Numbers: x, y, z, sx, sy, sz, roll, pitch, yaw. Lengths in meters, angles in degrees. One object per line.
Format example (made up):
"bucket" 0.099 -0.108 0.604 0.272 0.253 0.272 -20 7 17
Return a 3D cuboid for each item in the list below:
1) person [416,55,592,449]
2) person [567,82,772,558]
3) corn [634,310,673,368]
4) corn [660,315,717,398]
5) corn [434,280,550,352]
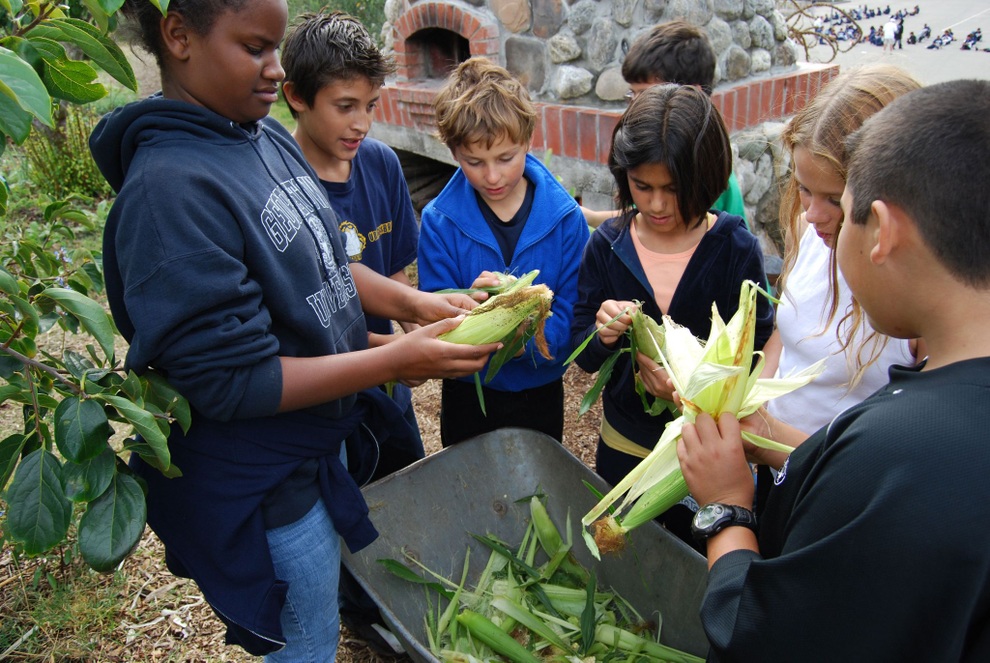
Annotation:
"person" 0.005 -0.511 3.869 0.816 2.301 0.718 -8 21 -15
"person" 0.751 -0.031 3.741 0.869 2.274 1.194 3 -4 -9
"corn" 0.657 0.037 3.355 0.130 0.398 0.131 -23 54 17
"corn" 0.710 0.097 2.958 0.164 0.274 0.222 11 23 21
"corn" 0.029 -0.077 3.330 0.602 0.240 0.197 -21 14 0
